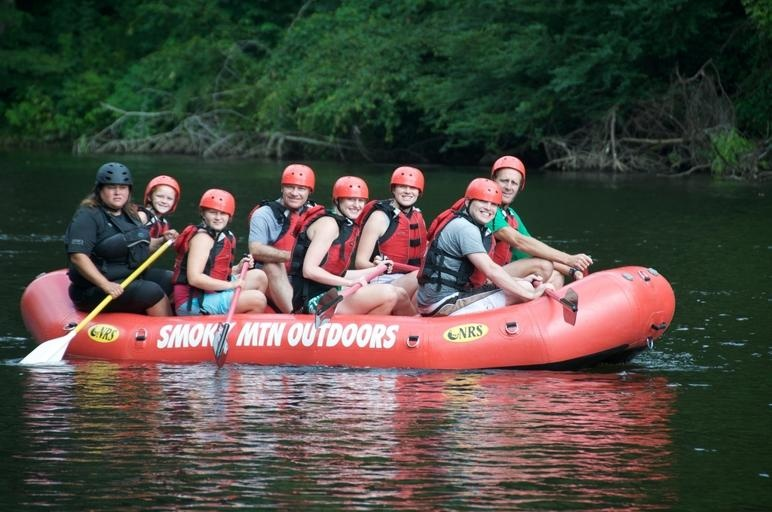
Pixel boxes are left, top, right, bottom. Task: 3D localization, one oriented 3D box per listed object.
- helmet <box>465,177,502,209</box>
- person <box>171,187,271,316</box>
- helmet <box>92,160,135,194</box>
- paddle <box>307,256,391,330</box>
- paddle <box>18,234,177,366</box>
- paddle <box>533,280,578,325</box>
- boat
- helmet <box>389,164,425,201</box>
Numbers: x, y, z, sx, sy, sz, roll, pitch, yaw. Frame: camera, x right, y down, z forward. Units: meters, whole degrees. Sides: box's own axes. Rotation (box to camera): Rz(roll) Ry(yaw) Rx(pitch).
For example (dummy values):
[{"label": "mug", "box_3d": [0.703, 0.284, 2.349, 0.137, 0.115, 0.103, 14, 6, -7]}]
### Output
[{"label": "helmet", "box_3d": [1.053, -0.684, 10.606, 0.361, 0.276, 0.344, 5, 17, -1]}, {"label": "person", "box_3d": [-1.810, 0.141, 11.096, 1.193, 1.645, 0.971, 2, 15, -18]}, {"label": "helmet", "box_3d": [-2.877, -0.854, 10.697, 0.396, 0.448, 0.391, 3, 4, -24]}, {"label": "paddle", "box_3d": [-0.453, 0.403, 10.614, 0.083, 0.266, 1.004, 44, 52, -8]}, {"label": "paddle", "box_3d": [-3.111, 0.533, 10.898, 2.574, 0.095, 0.451, -32, 53, -22]}, {"label": "paddle", "box_3d": [1.845, 0.506, 10.346, 0.202, 0.332, 0.391, -5, 20, -30]}, {"label": "boat", "box_3d": [-0.208, 0.847, 10.626, 5.252, 0.767, 2.172, 0, -5, 10]}, {"label": "helmet", "box_3d": [0.261, -0.876, 11.382, 0.457, 0.386, 0.535, 19, 7, 1]}]
